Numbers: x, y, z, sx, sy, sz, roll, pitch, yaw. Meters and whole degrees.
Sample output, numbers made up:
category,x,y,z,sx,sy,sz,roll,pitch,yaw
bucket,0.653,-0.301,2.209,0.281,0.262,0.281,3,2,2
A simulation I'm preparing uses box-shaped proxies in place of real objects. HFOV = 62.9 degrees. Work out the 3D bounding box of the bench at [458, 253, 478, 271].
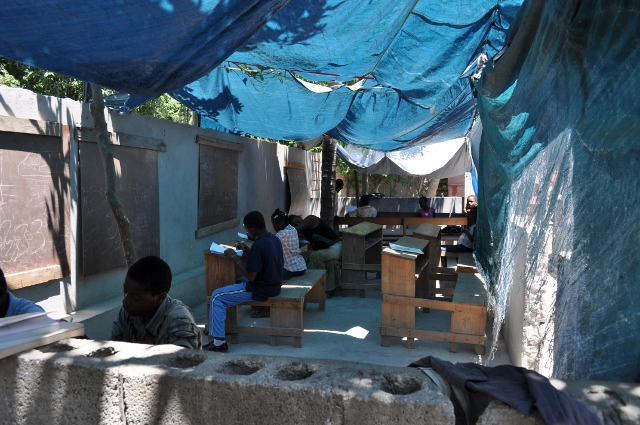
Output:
category,x,y,z,sx,sy,sz,roll,pitch,yaw
bench,2.752,0.902,9.802,0.322,0.136,1.416,4,6,14

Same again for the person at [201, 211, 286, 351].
category,x,y,z,sx,sy,sz,roll,pitch,yaw
person,-0.989,0.915,6.996,1.040,1.839,0.537,0,8,-21

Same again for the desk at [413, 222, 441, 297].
category,x,y,z,sx,sy,sz,roll,pitch,yaw
desk,1.858,0.852,9.101,0.357,1.103,1.076,-3,-14,9

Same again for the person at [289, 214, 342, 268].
category,x,y,z,sx,sy,sz,roll,pitch,yaw
person,-0.024,0.556,9.862,1.184,0.671,1.416,-1,22,1

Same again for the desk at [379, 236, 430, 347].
category,x,y,z,sx,sy,sz,roll,pitch,yaw
desk,1.228,1.180,7.547,0.458,1.332,1.397,0,3,11

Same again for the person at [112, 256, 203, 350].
category,x,y,z,sx,sy,sz,roll,pitch,yaw
person,-1.453,0.785,4.490,0.901,0.807,0.451,5,7,20

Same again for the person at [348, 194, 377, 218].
category,x,y,z,sx,sy,sz,roll,pitch,yaw
person,1.262,-0.196,15.307,0.692,0.536,1.609,16,-9,0
